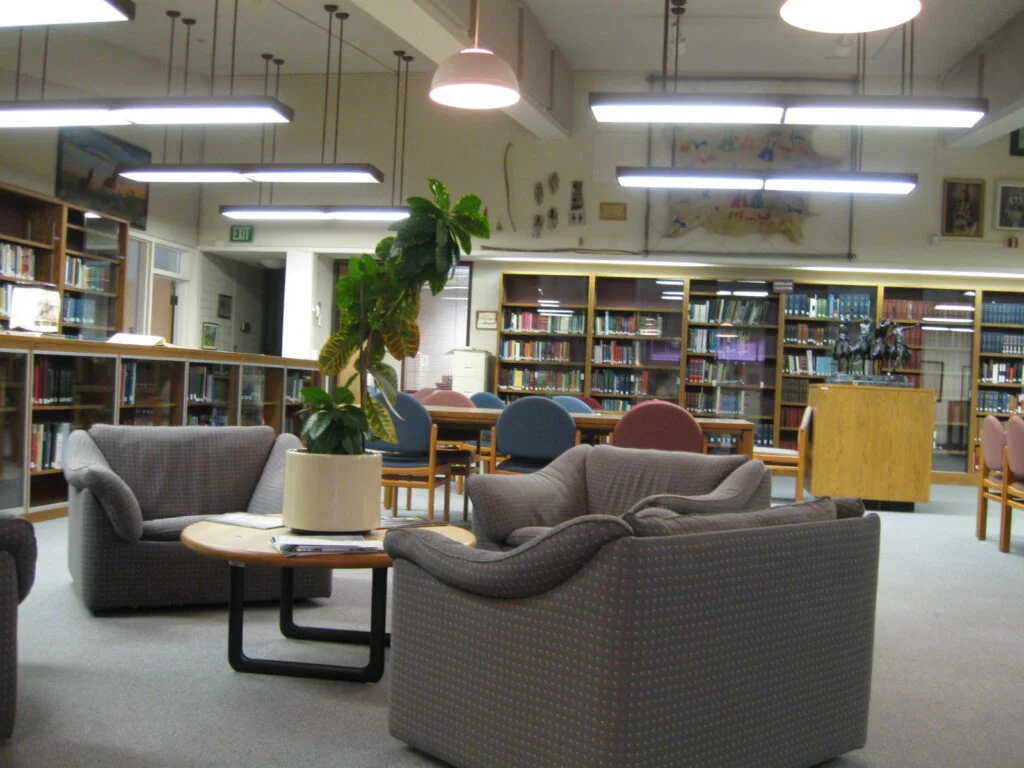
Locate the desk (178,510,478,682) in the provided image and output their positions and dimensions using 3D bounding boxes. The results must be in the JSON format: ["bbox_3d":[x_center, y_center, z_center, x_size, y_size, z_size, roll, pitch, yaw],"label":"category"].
[{"bbox_3d":[-0.791,0.937,3.550,1.059,0.518,1.115,-2,-9,20],"label":"desk"}]

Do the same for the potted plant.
[{"bbox_3d":[-0.520,-0.122,3.335,0.734,1.437,0.432,2,2,-16],"label":"potted plant"}]

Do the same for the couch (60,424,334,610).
[{"bbox_3d":[-1.651,0.665,4.356,1.243,0.910,0.938,3,-4,-38],"label":"couch"}]

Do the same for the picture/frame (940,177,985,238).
[{"bbox_3d":[5.526,-2.156,10.174,0.671,1.014,0.100,2,-4,3],"label":"picture/frame"}]

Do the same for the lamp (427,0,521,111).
[{"bbox_3d":[-0.243,-2.000,5.391,0.559,0.297,0.390,2,2,0],"label":"lamp"}]

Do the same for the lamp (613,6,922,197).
[{"bbox_3d":[2.792,-2.988,8.731,2.340,0.604,2.207,1,3,7],"label":"lamp"}]

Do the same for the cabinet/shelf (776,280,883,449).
[{"bbox_3d":[3.952,-0.243,10.677,1.075,2.137,0.376,3,2,18],"label":"cabinet/shelf"}]

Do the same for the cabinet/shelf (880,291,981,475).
[{"bbox_3d":[5.382,-0.319,11.026,1.169,2.172,0.767,-4,22,-2],"label":"cabinet/shelf"}]
